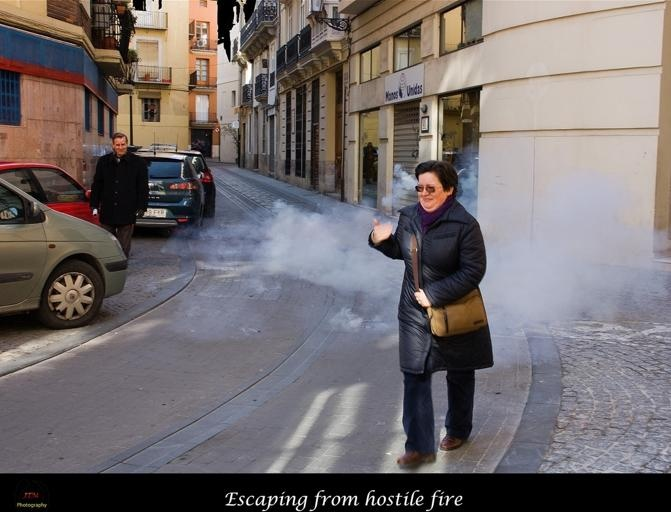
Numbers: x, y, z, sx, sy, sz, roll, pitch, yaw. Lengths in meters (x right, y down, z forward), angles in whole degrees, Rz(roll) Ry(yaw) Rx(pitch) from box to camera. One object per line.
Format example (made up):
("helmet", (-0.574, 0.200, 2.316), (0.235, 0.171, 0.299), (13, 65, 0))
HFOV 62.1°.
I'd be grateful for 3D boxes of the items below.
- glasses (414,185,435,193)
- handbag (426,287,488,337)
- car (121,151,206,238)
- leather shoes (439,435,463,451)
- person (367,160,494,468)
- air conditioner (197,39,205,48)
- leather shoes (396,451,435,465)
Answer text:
("glasses", (0.506, -0.399, 3.249), (0.063, 0.046, 0.183), (-6, 14, -25))
("handbag", (0.702, 0.298, 3.219), (0.348, 0.351, 0.129), (-10, 18, -24))
("car", (-3.841, -1.520, 12.808), (1.232, 1.090, 2.580), (1, 12, 2))
("leather shoes", (0.726, 1.171, 3.495), (0.069, 0.061, 0.152), (-6, -8, 32))
("person", (0.597, 0.338, 3.367), (0.639, 1.797, 0.575), (-4, 13, -18))
("air conditioner", (-13.089, -20.805, 54.305), (0.635, 0.842, 0.713), (0, 56, -7))
("leather shoes", (0.464, 1.156, 3.254), (0.214, 0.103, 0.083), (1, 2, -11))
